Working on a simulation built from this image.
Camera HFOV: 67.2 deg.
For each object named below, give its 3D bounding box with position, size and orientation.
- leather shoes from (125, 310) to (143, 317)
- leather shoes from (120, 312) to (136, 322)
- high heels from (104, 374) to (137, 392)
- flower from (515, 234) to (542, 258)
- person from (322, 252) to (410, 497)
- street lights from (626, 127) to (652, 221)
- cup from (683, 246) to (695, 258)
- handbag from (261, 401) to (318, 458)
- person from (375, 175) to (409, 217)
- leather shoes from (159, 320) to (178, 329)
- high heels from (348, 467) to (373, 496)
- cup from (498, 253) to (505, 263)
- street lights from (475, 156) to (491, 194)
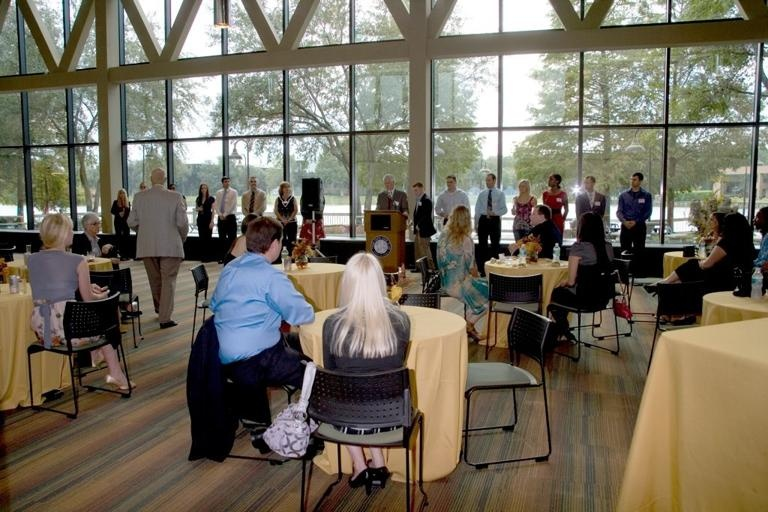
[{"bbox_3d":[-3.434,0.790,7.995,0.079,0.075,0.133,4,-5,-1],"label":"leather shoes"},{"bbox_3d":[-3.692,0.873,8.341,0.232,0.087,0.179,-7,-9,36],"label":"leather shoes"},{"bbox_3d":[-3.000,1.450,6.605,0.304,0.143,0.180,16,10,-25],"label":"high heels"},{"bbox_3d":[2.045,-0.143,8.218,0.267,0.419,0.405,-1,-1,9],"label":"flower"},{"bbox_3d":[-0.151,0.971,5.076,0.688,2.036,0.724,-5,17,-16],"label":"person"},{"bbox_3d":[5.271,-1.313,11.936,0.385,0.373,1.384,-13,-30,25],"label":"street lights"},{"bbox_3d":[4.509,-0.066,8.571,0.130,0.147,0.073,3,14,16],"label":"cup"},{"bbox_3d":[-0.792,1.418,4.762,0.364,0.447,0.166,1,8,20],"label":"handbag"},{"bbox_3d":[0.186,-1.268,12.139,0.645,0.858,0.996,-3,7,-5],"label":"person"},{"bbox_3d":[-3.197,1.021,8.627,0.265,0.136,0.099,-3,8,-27],"label":"leather shoes"},{"bbox_3d":[-0.229,1.939,5.017,0.129,0.213,0.395,0,-6,-22],"label":"high heels"},{"bbox_3d":[1.699,0.031,8.358,0.086,0.169,0.158,-1,5,9],"label":"cup"},{"bbox_3d":[2.197,-1.853,12.815,0.500,0.972,0.578,1,6,14],"label":"street lights"}]
